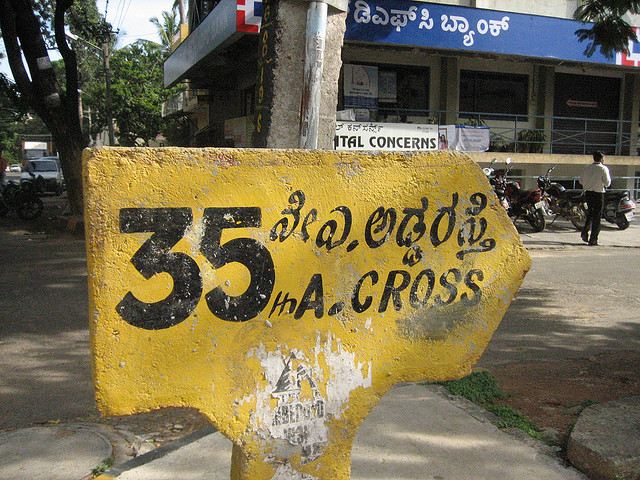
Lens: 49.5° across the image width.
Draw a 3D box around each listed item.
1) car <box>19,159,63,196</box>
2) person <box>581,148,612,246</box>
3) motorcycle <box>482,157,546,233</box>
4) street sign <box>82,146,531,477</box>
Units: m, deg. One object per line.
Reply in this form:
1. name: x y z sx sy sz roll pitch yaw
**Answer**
1. car: -11.073 -2.522 27.697 1.405 1.203 2.512 -1 2 -16
2. person: 5.531 -0.834 14.025 0.539 1.893 0.792 3 11 19
3. motorcycle: 4.437 -1.083 15.880 1.055 1.360 2.110 -22 23 -18
4. street sign: -0.131 0.473 4.308 2.501 2.120 0.266 -1 6 -19
